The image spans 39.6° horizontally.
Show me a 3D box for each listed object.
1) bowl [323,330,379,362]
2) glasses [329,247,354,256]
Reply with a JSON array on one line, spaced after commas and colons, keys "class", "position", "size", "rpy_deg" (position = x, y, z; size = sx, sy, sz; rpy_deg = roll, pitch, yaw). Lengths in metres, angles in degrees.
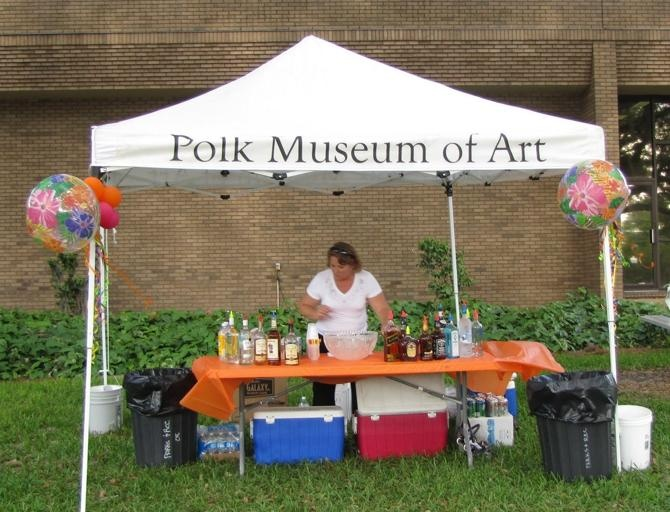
[{"class": "bowl", "position": [0.190, 0.998, 10.455], "size": [0.532, 0.338, 0.504], "rpy_deg": [0, 3, 0]}, {"class": "glasses", "position": [0.090, -0.056, 10.848], "size": [0.300, 0.111, 0.053], "rpy_deg": [-4, 13, -14]}]
